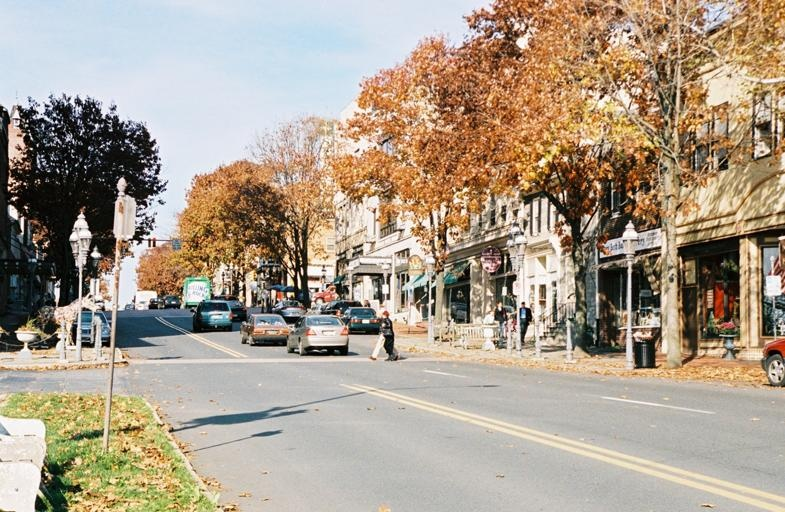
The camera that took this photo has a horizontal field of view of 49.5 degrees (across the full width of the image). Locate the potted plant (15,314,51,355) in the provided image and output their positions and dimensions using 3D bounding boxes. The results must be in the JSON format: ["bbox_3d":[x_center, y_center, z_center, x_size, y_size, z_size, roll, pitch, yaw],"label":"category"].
[{"bbox_3d":[-15.138,3.258,35.251,0.801,1.218,0.813,3,-5,22],"label":"potted plant"}]

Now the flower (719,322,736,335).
[{"bbox_3d":[13.031,2.821,33.175,0.511,0.498,0.566,3,4,25],"label":"flower"}]

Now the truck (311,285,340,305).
[{"bbox_3d":[-7.002,3.969,88.096,3.355,2.028,2.018,4,-7,-27],"label":"truck"}]

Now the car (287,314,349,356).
[{"bbox_3d":[-3.358,3.481,38.228,1.982,1.945,2.743,7,-14,-43],"label":"car"}]

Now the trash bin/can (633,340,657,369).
[{"bbox_3d":[9.274,3.586,31.339,0.907,1.037,0.945,-1,-5,14],"label":"trash bin/can"}]

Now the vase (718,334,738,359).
[{"bbox_3d":[12.931,3.522,32.937,0.862,0.960,0.800,-1,-9,11],"label":"vase"}]

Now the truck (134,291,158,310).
[{"bbox_3d":[-35.606,6.490,123.017,2.765,2.791,4.935,0,-2,-13],"label":"truck"}]

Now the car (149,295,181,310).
[{"bbox_3d":[-29.392,6.539,111.930,2.607,1.963,5.866,3,1,-26],"label":"car"}]
